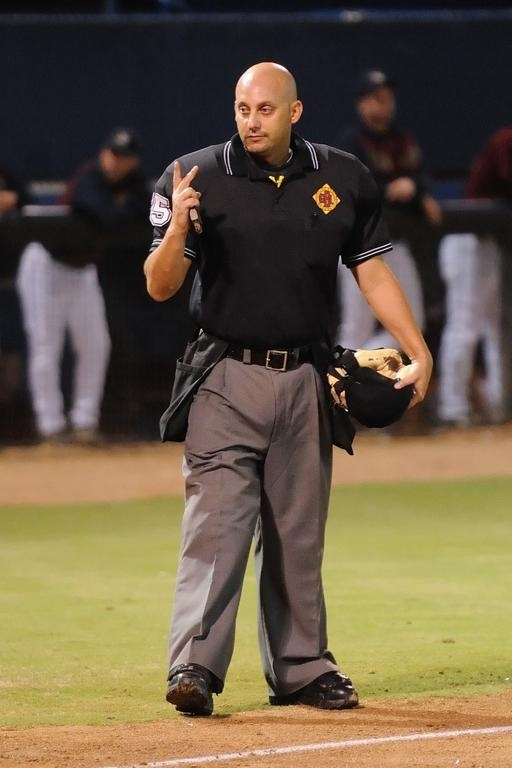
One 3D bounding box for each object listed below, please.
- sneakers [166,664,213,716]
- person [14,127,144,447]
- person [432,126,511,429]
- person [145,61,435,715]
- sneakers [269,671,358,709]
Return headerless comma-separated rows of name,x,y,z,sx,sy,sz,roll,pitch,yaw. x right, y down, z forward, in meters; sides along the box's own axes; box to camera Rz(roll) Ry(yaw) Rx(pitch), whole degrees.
sneakers,-0.155,0.703,2.277,0.078,0.068,0.160,3,-32,1
person,-1.184,-0.649,6.834,0.890,2.104,0.360,-1,6,-12
person,1.669,-0.811,7.589,0.585,2.254,0.380,1,6,1
person,0.055,0.016,2.455,0.744,1.588,0.406,-2,7,-29
sneakers,0.169,0.760,2.488,0.243,0.094,0.087,-8,-6,29
